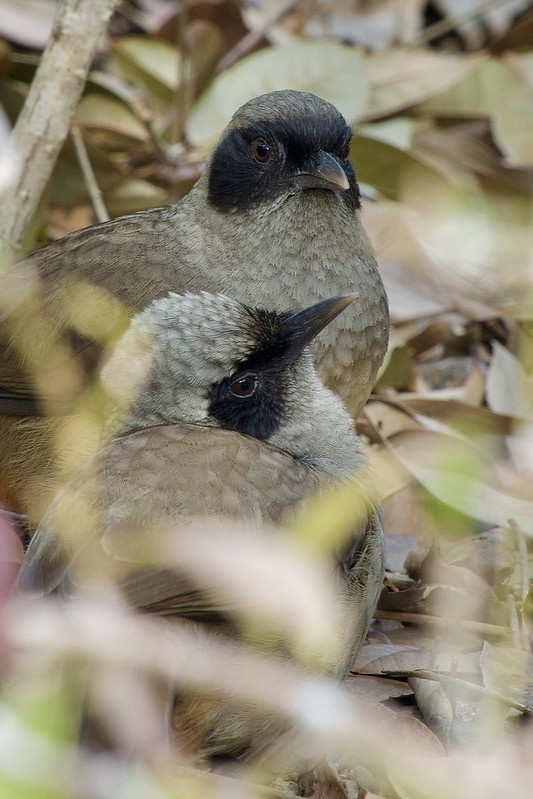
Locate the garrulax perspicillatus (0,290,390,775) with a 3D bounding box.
[{"bbox_3d":[-0.198,0.160,1.253,0.680,0.501,0.384,-10,13,-13],"label":"garrulax perspicillatus"}]
